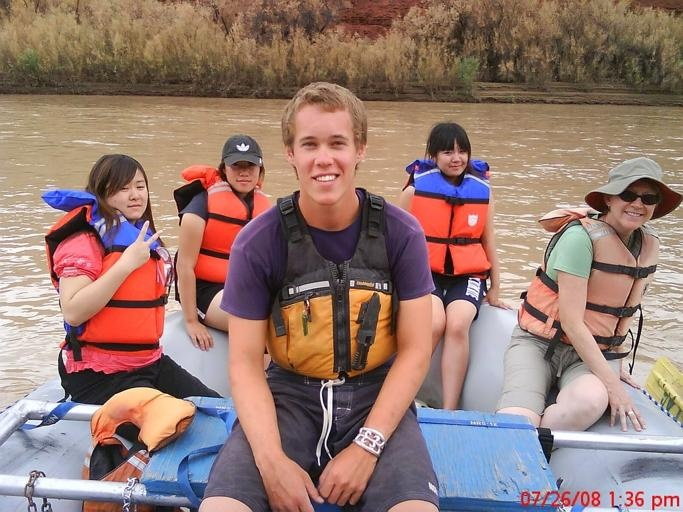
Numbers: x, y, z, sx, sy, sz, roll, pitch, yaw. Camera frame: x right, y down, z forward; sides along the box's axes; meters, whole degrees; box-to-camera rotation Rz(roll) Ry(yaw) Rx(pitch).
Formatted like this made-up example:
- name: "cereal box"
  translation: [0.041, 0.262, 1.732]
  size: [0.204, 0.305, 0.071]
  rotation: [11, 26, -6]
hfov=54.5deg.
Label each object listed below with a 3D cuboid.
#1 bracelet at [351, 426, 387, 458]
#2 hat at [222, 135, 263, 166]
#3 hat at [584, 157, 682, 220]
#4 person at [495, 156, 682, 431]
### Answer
- name: "bracelet"
  translation: [0.102, 0.649, 2.328]
  size: [0.103, 0.041, 0.089]
  rotation: [24, 13, -19]
- name: "hat"
  translation: [-0.588, -0.642, 3.948]
  size: [0.252, 0.173, 0.344]
  rotation: [1, 16, -4]
- name: "hat"
  translation: [1.383, -0.322, 3.156]
  size: [0.405, 0.298, 0.283]
  rotation: [4, 14, 16]
- name: "person"
  translation: [1.161, 0.156, 3.125]
  size: [0.742, 1.220, 0.609]
  rotation: [4, 14, 16]
